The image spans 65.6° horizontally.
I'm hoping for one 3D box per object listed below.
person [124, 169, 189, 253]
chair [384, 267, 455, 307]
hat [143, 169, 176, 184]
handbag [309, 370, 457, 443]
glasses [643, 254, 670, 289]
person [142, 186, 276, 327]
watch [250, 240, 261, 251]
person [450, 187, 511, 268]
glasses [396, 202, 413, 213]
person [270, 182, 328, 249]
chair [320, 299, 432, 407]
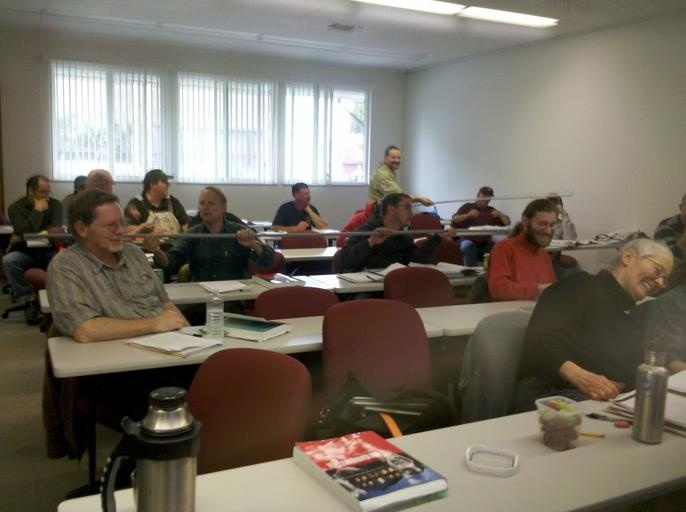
[{"bbox_3d":[-1.568,-0.241,4.612,0.512,0.959,0.500,-5,6,-36],"label":"person"},{"bbox_3d":[0.437,0.161,3.099,0.243,0.355,0.285,-1,0,-16],"label":"chair"},{"bbox_3d":[-1.570,-0.668,4.534,0.215,0.116,0.186,-9,14,-40],"label":"hat"},{"bbox_3d":[0.137,0.538,1.835,0.336,0.132,0.264,0,1,-11],"label":"handbag"},{"bbox_3d":[0.925,0.042,1.618,0.050,0.071,0.091,-42,28,7],"label":"glasses"},{"bbox_3d":[-0.815,0.129,3.420,0.793,1.121,0.589,-3,1,-10],"label":"person"},{"bbox_3d":[-0.542,-0.056,3.341,0.060,0.056,0.061,-13,-30,6],"label":"watch"},{"bbox_3d":[1.357,-0.168,5.194,0.523,1.021,0.539,8,-2,15],"label":"person"},{"bbox_3d":[0.433,-0.339,3.776,0.083,0.111,0.079,2,12,24],"label":"glasses"},{"bbox_3d":[-0.473,-0.277,5.670,0.598,0.969,0.514,1,3,-28],"label":"person"},{"bbox_3d":[0.102,0.424,2.499,0.387,0.581,0.465,0,-2,-17],"label":"chair"}]
